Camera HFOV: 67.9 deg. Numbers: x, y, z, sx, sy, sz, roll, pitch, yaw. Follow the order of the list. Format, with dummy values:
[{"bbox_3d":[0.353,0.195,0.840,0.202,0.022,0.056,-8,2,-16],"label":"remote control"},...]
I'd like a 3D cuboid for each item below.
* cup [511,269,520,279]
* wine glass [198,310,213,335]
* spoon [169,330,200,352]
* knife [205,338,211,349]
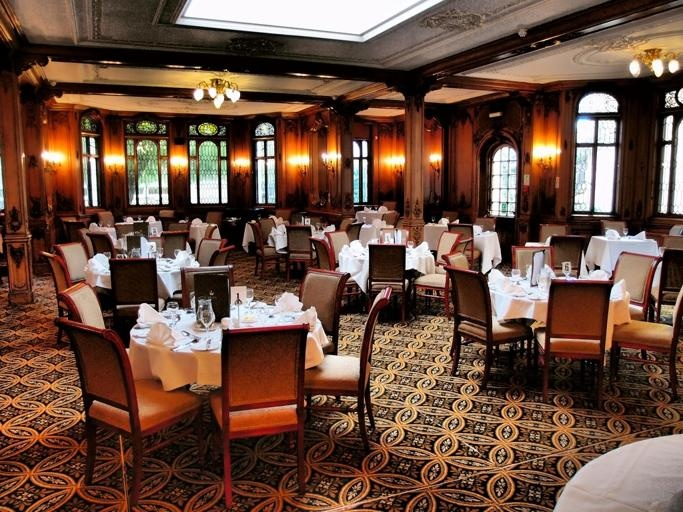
[{"bbox_3d":[1.960,0.208,5.712,0.103,0.098,0.098,-1,5,0],"label":"cup"},{"bbox_3d":[-1.038,0.492,3.909,0.106,0.196,0.150,-4,13,-17],"label":"wine glass"},{"bbox_3d":[-1.172,0.633,3.777,0.137,0.045,0.132,4,14,21],"label":"spoon"},{"bbox_3d":[-0.966,0.646,3.703,0.026,0.021,0.083,-38,27,24],"label":"knife"}]
